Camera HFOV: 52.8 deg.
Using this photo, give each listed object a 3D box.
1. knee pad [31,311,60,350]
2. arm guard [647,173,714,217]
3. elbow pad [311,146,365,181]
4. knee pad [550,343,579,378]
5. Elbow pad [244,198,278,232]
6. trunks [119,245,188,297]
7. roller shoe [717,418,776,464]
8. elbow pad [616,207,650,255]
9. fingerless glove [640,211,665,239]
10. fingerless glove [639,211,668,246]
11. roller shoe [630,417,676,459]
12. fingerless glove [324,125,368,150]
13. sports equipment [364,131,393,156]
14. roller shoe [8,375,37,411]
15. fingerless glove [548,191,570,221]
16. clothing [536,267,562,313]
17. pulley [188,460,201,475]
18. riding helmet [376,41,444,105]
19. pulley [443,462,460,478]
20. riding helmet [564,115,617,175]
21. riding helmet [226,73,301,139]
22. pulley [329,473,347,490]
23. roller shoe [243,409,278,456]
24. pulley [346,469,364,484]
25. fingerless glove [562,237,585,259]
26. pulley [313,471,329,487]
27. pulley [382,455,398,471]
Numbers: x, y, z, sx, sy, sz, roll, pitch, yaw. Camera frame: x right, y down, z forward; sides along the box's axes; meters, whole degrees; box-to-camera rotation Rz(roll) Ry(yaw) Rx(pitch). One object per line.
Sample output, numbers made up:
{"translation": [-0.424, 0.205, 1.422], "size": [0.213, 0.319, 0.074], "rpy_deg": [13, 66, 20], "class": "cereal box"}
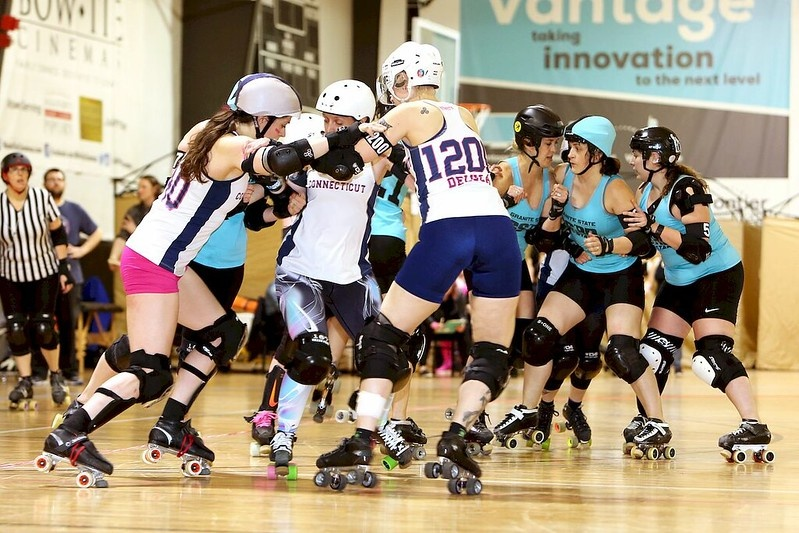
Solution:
{"translation": [-3.935, 0.681, 9.045], "size": [0.330, 0.367, 0.161], "rpy_deg": [1, 35, -15], "class": "knee pad"}
{"translation": [2.190, -0.560, 6.321], "size": [0.339, 0.195, 0.276], "rpy_deg": [-31, 5, 9], "class": "arm guard"}
{"translation": [-0.386, -0.647, 5.156], "size": [0.249, 0.136, 0.200], "rpy_deg": [-11, -2, 2], "class": "elbow pad"}
{"translation": [1.377, 0.803, 6.746], "size": [0.099, 0.212, 0.286], "rpy_deg": [-33, 29, 18], "class": "knee pad"}
{"translation": [-1.036, -0.378, 6.221], "size": [0.255, 0.219, 0.126], "rpy_deg": [-20, -28, 3], "class": "Elbow pad"}
{"translation": [-1.664, 0.034, 5.327], "size": [0.266, 0.293, 0.382], "rpy_deg": [-3, 4, -23], "class": "trunks"}
{"translation": [2.616, 1.320, 6.065], "size": [0.433, 0.355, 0.235], "rpy_deg": [3, -5, -2], "class": "roller shoe"}
{"translation": [1.850, -0.255, 6.359], "size": [0.240, 0.340, 0.145], "rpy_deg": [-8, 29, -15], "class": "elbow pad"}
{"translation": [1.985, -0.322, 6.315], "size": [0.198, 0.096, 0.147], "rpy_deg": [30, 28, -2], "class": "fingerless glove"}
{"translation": [2.004, -0.287, 6.331], "size": [0.238, 0.109, 0.185], "rpy_deg": [35, 11, -2], "class": "fingerless glove"}
{"translation": [1.943, 1.339, 6.246], "size": [0.343, 0.272, 0.225], "rpy_deg": [7, -9, -39], "class": "roller shoe"}
{"translation": [-0.344, -0.818, 5.084], "size": [0.224, 0.141, 0.095], "rpy_deg": [-11, -31, -2], "class": "fingerless glove"}
{"translation": [-0.131, -0.782, 5.109], "size": [0.180, 0.140, 0.043], "rpy_deg": [2, -3, -13], "class": "sports equipment"}
{"translation": [-4.080, 1.371, 8.669], "size": [0.209, 0.328, 0.482], "rpy_deg": [0, -10, 3], "class": "roller shoe"}
{"translation": [1.269, -0.486, 6.453], "size": [0.111, 0.207, 0.089], "rpy_deg": [15, 0, 26], "class": "fingerless glove"}
{"translation": [1.261, 0.145, 6.940], "size": [0.253, 0.541, 0.407], "rpy_deg": [3, 3, 12], "class": "clothing"}
{"translation": [-1.379, 1.347, 5.419], "size": [0.066, 0.069, 0.026], "rpy_deg": [33, -13, -13], "class": "pulley"}
{"translation": [0.093, -1.310, 5.560], "size": [0.435, 0.447, 0.399], "rpy_deg": [9, 10, 25], "class": "riding helmet"}
{"translation": [0.327, 1.267, 5.018], "size": [0.118, 0.101, 0.035], "rpy_deg": [3, -3, -28], "class": "pulley"}
{"translation": [1.556, -1.082, 6.593], "size": [0.458, 0.492, 0.353], "rpy_deg": [6, 0, -2], "class": "riding helmet"}
{"translation": [-0.892, -1.066, 5.309], "size": [0.435, 0.419, 0.362], "rpy_deg": [-4, 10, -9], "class": "riding helmet"}
{"translation": [-0.388, 1.348, 5.077], "size": [0.072, 0.077, 0.040], "rpy_deg": [32, 15, 37], "class": "pulley"}
{"translation": [-1.090, 1.313, 6.351], "size": [0.282, 0.299, 0.683], "rpy_deg": [-1, -10, -7], "class": "roller shoe"}
{"translation": [-0.274, 1.319, 5.070], "size": [0.107, 0.101, 0.049], "rpy_deg": [3, -3, -19], "class": "pulley"}
{"translation": [1.411, -0.151, 6.565], "size": [0.072, 0.182, 0.108], "rpy_deg": [-31, -18, -40], "class": "fingerless glove"}
{"translation": [-0.491, 1.333, 5.067], "size": [0.108, 0.112, 0.063], "rpy_deg": [-10, -10, 3], "class": "pulley"}
{"translation": [-0.074, 1.376, 5.692], "size": [0.097, 0.123, 0.100], "rpy_deg": [6, 10, 32], "class": "pulley"}
